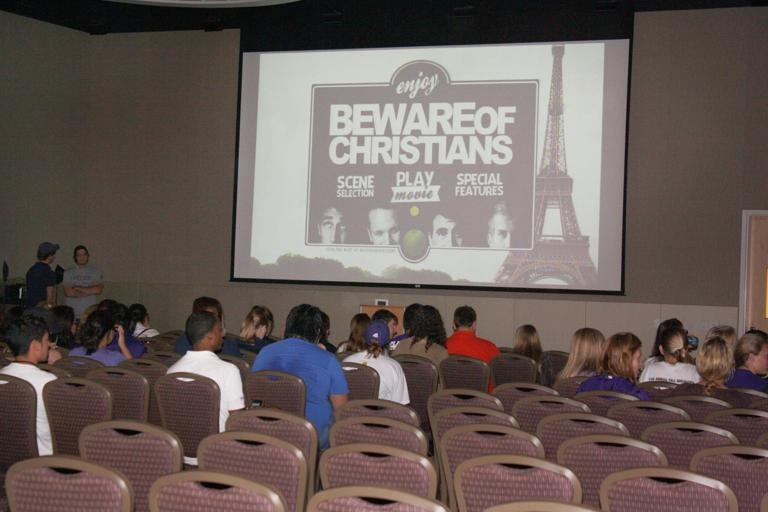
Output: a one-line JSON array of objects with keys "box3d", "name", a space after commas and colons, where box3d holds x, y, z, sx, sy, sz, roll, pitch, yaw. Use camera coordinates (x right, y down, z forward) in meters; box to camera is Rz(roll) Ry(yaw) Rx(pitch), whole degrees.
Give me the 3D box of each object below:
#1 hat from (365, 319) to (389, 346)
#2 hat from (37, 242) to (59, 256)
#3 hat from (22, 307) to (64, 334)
[{"box3d": [-0.057, 0.878, 7.556, 0.202, 0.180, 0.301, 2, 23, 2], "name": "hat"}, {"box3d": [-5.876, -0.123, 11.823, 0.196, 0.147, 0.277, 8, 26, 26], "name": "hat"}, {"box3d": [-3.900, 0.746, 7.787, 0.496, 0.270, 0.350, 16, -6, -36], "name": "hat"}]
